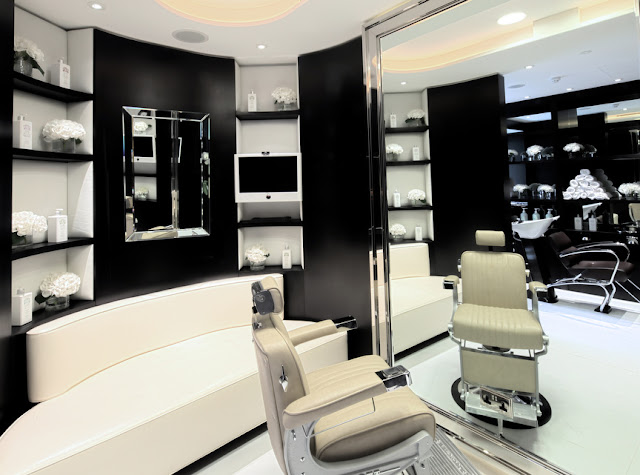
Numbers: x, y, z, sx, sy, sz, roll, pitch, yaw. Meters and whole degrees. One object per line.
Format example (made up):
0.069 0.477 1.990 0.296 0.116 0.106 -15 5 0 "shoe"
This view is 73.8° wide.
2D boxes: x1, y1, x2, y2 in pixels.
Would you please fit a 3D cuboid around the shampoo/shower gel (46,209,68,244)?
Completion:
-2.071 -0.096 3.360 0.139 0.254 0.275 -6 6 -22 "shampoo/shower gel"

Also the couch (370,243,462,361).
0.788 0.497 3.396 0.839 0.616 0.451 -11 9 -29 "couch"

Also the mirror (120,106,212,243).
-1.350 -0.550 3.768 0.717 1.121 0.012 -1 -9 -3 "mirror"

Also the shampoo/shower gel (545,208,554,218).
1.490 -0.158 2.768 0.049 0.096 0.049 1 -1 -44 "shampoo/shower gel"

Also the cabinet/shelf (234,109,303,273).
-0.494 -0.440 4.194 0.610 1.481 0.491 0 9 2 "cabinet/shelf"

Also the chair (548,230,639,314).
1.739 0.194 2.691 0.501 0.522 0.392 0 3 38 "chair"
